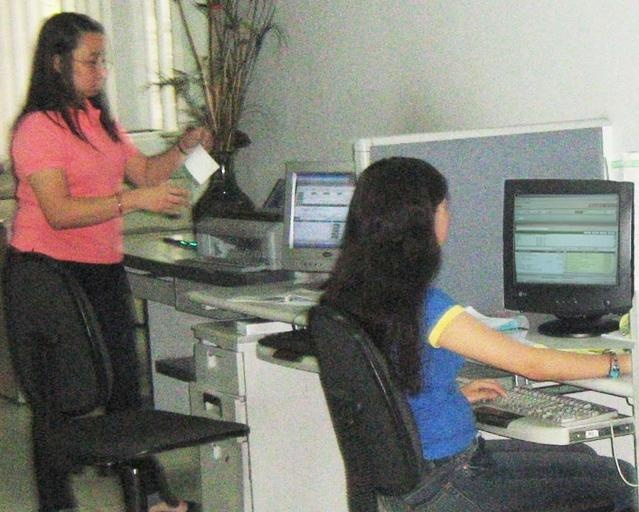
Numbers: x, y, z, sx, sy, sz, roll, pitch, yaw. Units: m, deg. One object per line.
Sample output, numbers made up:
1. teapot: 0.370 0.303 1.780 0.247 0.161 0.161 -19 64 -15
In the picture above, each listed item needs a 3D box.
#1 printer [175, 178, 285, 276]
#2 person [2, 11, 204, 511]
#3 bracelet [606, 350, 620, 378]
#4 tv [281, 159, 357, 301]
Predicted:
1. printer: -0.200 -0.080 1.901 0.297 0.189 0.299 9 18 33
2. person: -0.494 -0.070 1.525 0.423 0.918 0.125 -1 6 -35
3. bracelet: 0.512 0.188 1.114 0.026 0.040 0.041 0 -8 12
4. tv: 0.020 -0.124 1.973 0.222 0.297 0.205 2 2 12
